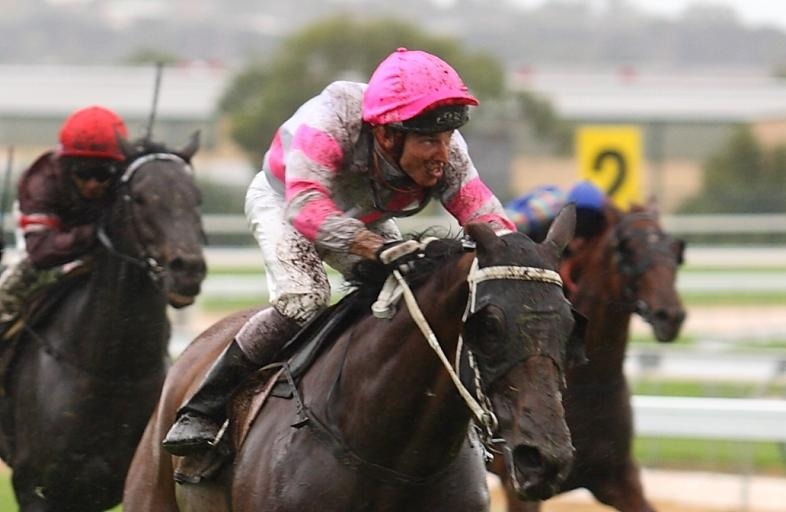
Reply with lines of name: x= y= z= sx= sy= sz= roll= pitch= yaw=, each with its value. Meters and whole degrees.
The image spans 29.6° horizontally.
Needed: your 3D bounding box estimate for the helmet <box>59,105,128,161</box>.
helmet: x=-2.671 y=-1.128 z=13.223 sx=0.609 sy=0.353 sz=0.438 roll=4 pitch=2 yaw=14
